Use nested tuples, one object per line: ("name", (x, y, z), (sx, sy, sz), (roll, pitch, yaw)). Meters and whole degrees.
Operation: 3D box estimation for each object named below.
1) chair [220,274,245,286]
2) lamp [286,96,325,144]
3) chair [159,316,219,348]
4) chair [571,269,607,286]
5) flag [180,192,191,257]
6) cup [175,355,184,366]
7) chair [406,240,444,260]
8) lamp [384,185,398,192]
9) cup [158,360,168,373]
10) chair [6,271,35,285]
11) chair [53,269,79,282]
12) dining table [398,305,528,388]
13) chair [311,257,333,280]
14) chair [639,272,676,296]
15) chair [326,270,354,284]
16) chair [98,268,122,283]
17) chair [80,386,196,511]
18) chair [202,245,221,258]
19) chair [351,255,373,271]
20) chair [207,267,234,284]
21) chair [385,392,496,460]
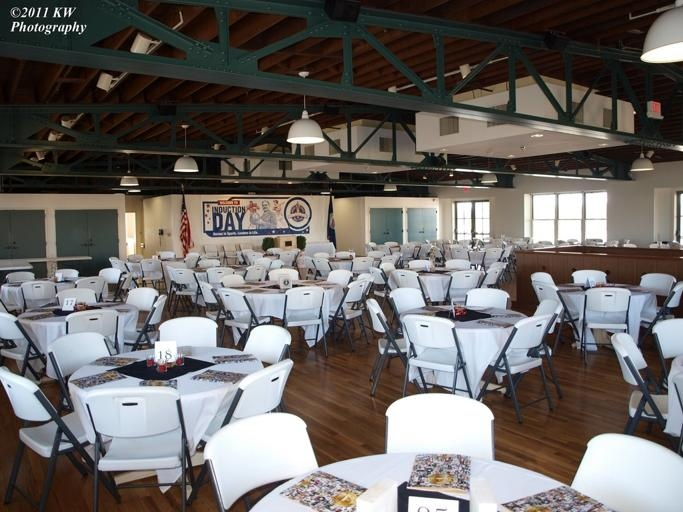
("chair", (-1.623, 0.344, 7.229), (0.272, 0.240, 0.247), (2, 8, 41))
("lamp", (-0.476, -1.642, 5.973), (0.398, 0.461, 0.357), (-3, 1, 18))
("chair", (-1.326, 0.674, 4.152), (0.409, 0.258, 0.351), (-2, 1, 42))
("chair", (3.651, 0.318, 6.935), (0.442, 0.140, 0.369), (-2, 4, -8))
("flag", (-5.248, -1.037, 15.765), (0.320, 1.989, 0.634), (-5, 1, -17))
("cup", (-1.179, 0.759, 3.443), (0.079, 0.072, 0.066), (-2, 6, -13))
("chair", (2.558, -0.166, 14.621), (1.005, 0.782, 0.750), (2, 1, -5))
("lamp", (1.696, -2.380, 16.557), (0.632, 0.213, 0.527), (0, 0, 2))
("cup", (-1.268, 0.781, 3.331), (0.084, 0.064, 0.068), (-2, 8, -21))
("chair", (-5.488, 0.379, 8.085), (0.460, 0.248, 0.425), (1, 0, -36))
("chair", (-4.784, 0.343, 8.199), (0.255, 0.219, 0.195), (0, 5, -24))
("dining table", (1.168, 0.748, 4.575), (1.017, 0.459, 0.963), (-3, 4, -39))
("chair", (-0.371, 0.283, 10.420), (0.554, 0.453, 0.514), (-7, 10, -41))
("chair", (4.367, 0.400, 6.512), (0.386, 0.365, 0.344), (2, 14, 45))
("chair", (-0.059, 0.341, 7.369), (0.316, 0.305, 0.268), (1, 4, 13))
("chair", (-3.977, 0.345, 7.977), (0.377, 0.356, 0.319), (1, 1, -11))
("chair", (-1.271, 1.197, 2.977), (0.575, 0.789, 0.463), (-4, 1, -16))
("chair", (-4.558, -0.167, 16.573), (0.666, 0.604, 0.692), (0, -1, -27))
("chair", (0.449, 0.162, 10.044), (0.389, 0.346, 0.353), (-1, 12, -18))
("chair", (-2.116, 0.330, 8.352), (0.429, 0.349, 0.402), (2, -12, -30))
("chair", (0.513, 0.883, 2.633), (0.438, 0.485, 0.412), (0, 1, 6))
